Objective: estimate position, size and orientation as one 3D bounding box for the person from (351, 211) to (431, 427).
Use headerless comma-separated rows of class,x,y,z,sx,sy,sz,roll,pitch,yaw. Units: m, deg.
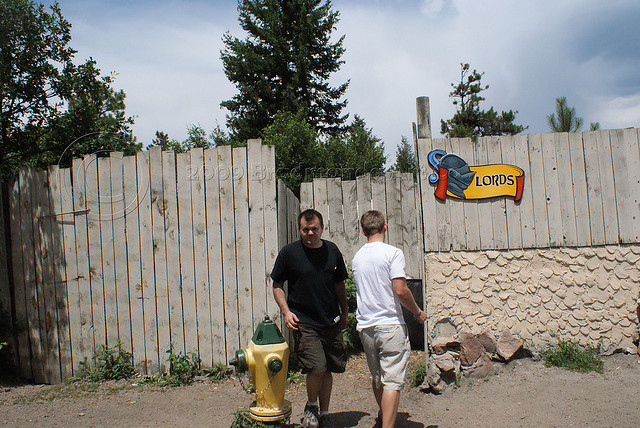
person,0.969,1.472,9.030,0.873,3.087,0.601,-4,0,3
